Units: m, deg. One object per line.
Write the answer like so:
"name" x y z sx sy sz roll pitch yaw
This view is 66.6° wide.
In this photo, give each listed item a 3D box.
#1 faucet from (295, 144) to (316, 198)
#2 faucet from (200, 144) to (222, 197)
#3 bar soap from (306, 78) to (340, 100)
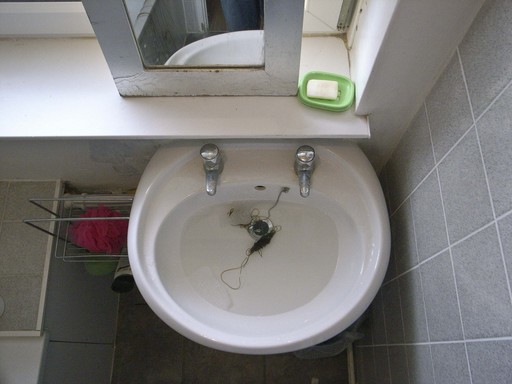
"faucet" 0.154 -0.068 1.212 0.062 0.061 0.161 3 79 7
"faucet" -0.119 -0.067 1.210 0.067 0.097 0.155 1 69 -1
"bar soap" 0.206 -0.324 1.185 0.088 0.022 0.056 3 88 5
